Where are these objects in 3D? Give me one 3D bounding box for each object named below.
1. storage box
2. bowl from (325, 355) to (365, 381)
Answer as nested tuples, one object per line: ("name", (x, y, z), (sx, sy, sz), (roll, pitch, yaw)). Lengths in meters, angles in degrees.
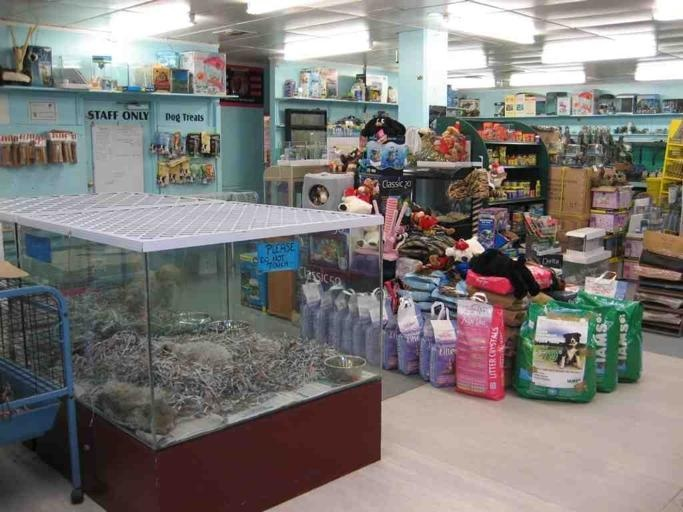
("storage box", (3.685, -0.398, 7.103), (1.085, 1.776, 1.907), (2, 4, 37))
("bowl", (0.027, 0.653, 3.077), (0.183, 0.078, 0.179), (-1, 5, 0))
